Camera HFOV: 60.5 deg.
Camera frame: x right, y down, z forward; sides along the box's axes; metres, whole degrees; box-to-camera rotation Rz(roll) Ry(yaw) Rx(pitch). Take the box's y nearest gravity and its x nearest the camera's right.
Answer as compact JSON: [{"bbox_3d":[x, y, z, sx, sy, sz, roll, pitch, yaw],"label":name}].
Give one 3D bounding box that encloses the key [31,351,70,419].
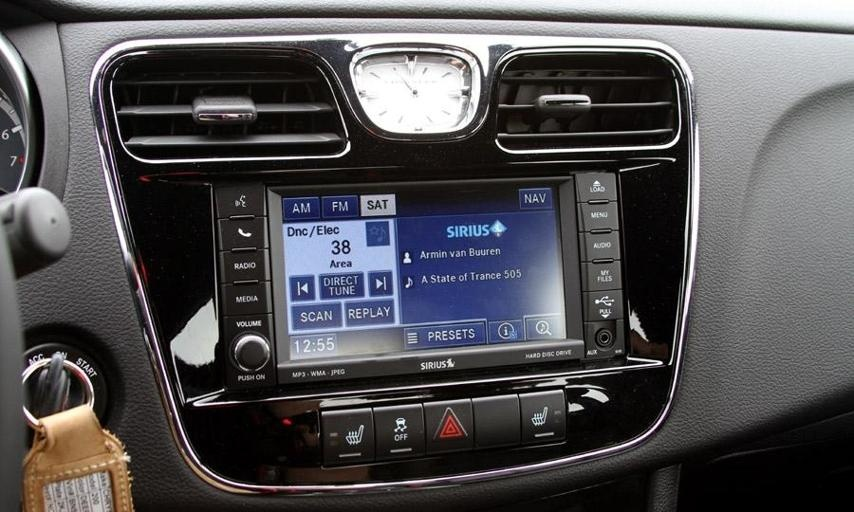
[{"bbox_3d":[-0.655,0.226,1.278,0.058,0.038,0.111,0,84,1],"label":"key"}]
